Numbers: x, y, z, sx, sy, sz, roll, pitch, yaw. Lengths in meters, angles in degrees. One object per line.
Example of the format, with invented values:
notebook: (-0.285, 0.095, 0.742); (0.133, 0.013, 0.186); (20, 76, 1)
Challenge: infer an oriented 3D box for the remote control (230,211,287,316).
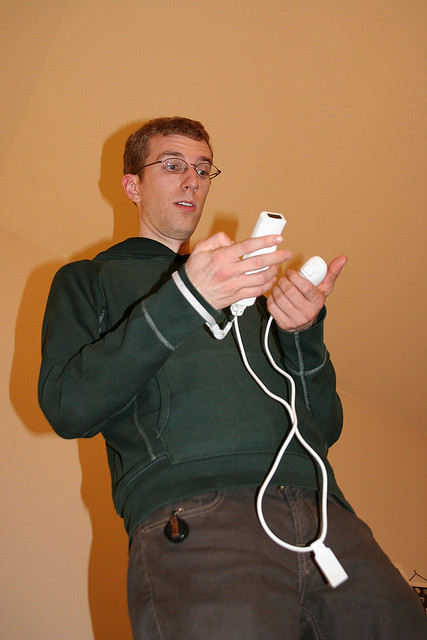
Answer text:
remote control: (0.080, -0.108, 1.091); (0.106, 0.205, 0.254); (-2, 2, 5)

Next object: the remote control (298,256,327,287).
remote control: (0.190, -0.089, 1.105); (0.040, 0.056, 0.079); (-1, 3, 35)

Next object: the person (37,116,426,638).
person: (-0.019, 0.055, 1.194); (0.653, 0.948, 0.759); (-3, 2, -16)
